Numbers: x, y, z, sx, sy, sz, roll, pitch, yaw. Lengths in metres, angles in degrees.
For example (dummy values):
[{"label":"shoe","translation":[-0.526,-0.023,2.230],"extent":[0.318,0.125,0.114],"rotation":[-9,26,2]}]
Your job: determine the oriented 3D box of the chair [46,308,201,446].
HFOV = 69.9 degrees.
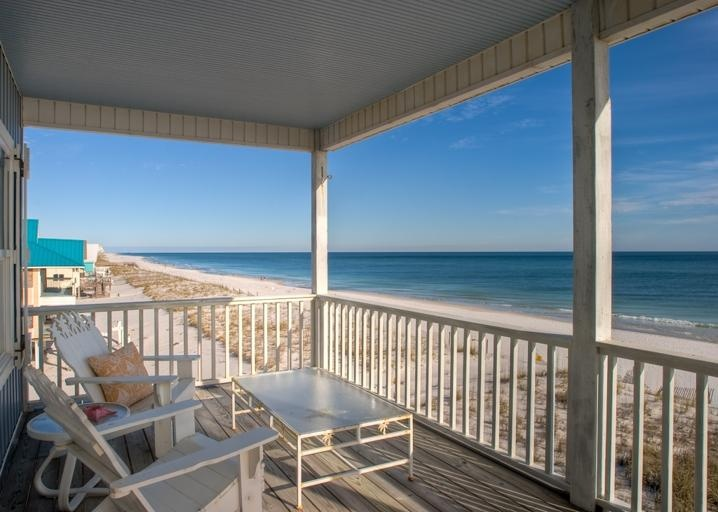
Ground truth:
[{"label":"chair","translation":[-1.762,0.924,4.320],"extent":[1.344,1.231,0.969],"rotation":[1,0,-8]}]
